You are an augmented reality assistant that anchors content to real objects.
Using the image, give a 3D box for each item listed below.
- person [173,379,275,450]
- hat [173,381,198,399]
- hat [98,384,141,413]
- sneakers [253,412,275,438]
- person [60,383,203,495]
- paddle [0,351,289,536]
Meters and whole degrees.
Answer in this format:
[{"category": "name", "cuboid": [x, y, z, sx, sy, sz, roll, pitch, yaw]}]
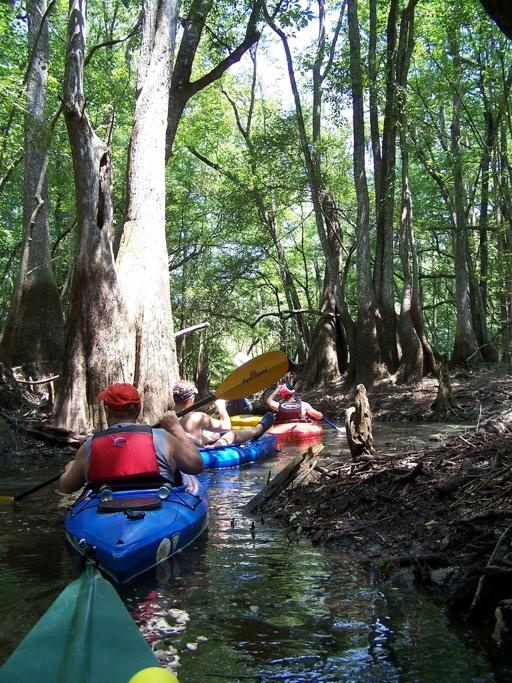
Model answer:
[{"category": "person", "cuboid": [-0.509, 1.109, 7.543, 0.745, 0.890, 1.681, -2, -1, 40]}, {"category": "hat", "cuboid": [-0.765, 0.501, 5.890, 0.225, 0.170, 0.167, -15, 8, 7]}, {"category": "hat", "cuboid": [-0.916, 0.363, 3.716, 0.175, 0.145, 0.263, -1, 10, -31]}, {"category": "sneakers", "cuboid": [0.163, 1.461, 9.730, 0.170, 0.454, 0.181, 17, -28, 27]}, {"category": "person", "cuboid": [-1.185, 0.854, 4.918, 1.010, 1.515, 0.883, -5, 37, -16]}, {"category": "paddle", "cuboid": [-1.268, 1.075, 6.149, 3.501, 0.456, 0.257, -29, 20, -33]}]
